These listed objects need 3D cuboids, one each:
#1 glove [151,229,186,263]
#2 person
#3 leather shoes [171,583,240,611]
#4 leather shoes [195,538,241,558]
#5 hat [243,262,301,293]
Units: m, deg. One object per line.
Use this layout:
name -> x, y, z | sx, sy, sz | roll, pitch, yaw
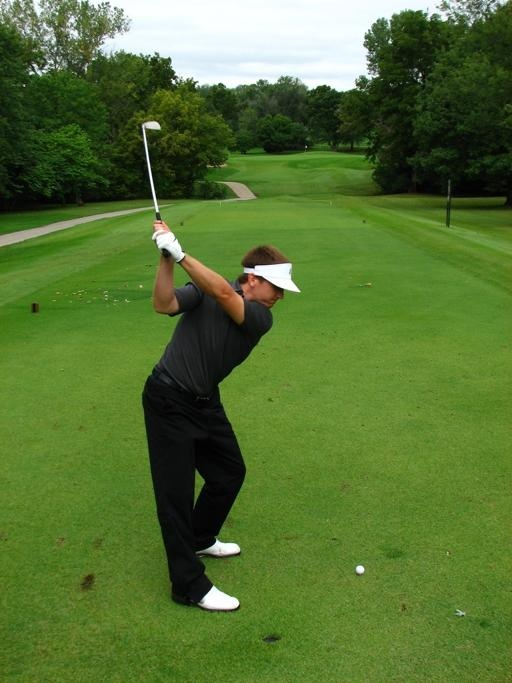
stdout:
glove -> -0.397, -0.425, 2.674 | 0.123, 0.147, 0.210 | -4, 17, -13
person -> -0.245, 0.342, 2.923 | 0.597, 1.841, 0.757 | 12, 22, 32
leather shoes -> -0.251, 1.233, 2.877 | 0.297, 0.102, 0.114 | 0, -3, 7
leather shoes -> -0.209, 1.139, 3.313 | 0.258, 0.086, 0.089 | -2, 9, -2
hat -> 0.060, -0.319, 2.837 | 0.229, 0.087, 0.169 | 20, 13, 18
